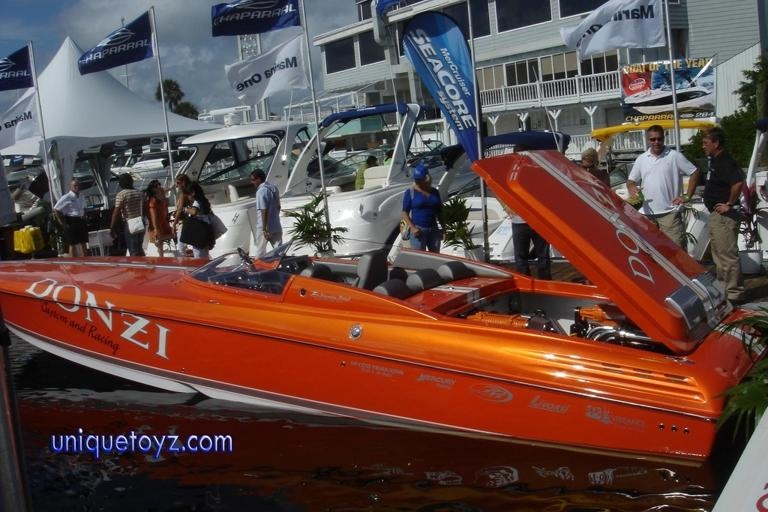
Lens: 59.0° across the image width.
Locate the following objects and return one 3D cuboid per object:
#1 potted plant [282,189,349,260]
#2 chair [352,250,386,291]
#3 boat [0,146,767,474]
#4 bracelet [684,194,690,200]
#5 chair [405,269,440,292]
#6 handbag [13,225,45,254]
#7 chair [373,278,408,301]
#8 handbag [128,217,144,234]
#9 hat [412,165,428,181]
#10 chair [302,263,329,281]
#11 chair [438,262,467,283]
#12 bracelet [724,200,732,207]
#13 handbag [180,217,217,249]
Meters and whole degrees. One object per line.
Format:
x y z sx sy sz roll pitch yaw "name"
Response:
-0.995 -0.397 9.811 1.042 1.105 1.009 -12 0 -6 "potted plant"
-0.135 0.158 6.537 0.125 0.364 0.234 -2 -32 35 "chair"
-1.024 -0.144 7.751 9.155 3.105 2.737 9 10 19 "boat"
3.678 -0.704 8.241 0.077 0.034 0.090 -16 10 14 "bracelet"
0.395 0.239 6.586 0.189 0.103 0.283 -7 3 15 "chair"
-6.441 -0.264 12.567 0.624 0.607 0.454 -8 15 -40 "handbag"
0.073 0.294 6.310 0.248 0.209 0.189 -8 12 -43 "chair"
-4.254 -0.516 11.611 0.222 0.211 0.097 -21 11 -23 "handbag"
0.506 -1.127 9.310 0.179 0.147 0.269 5 23 12 "hat"
-0.653 0.163 6.626 0.172 0.159 0.170 -1 2 -4 "chair"
0.684 0.160 6.802 0.183 0.203 0.241 -6 2 28 "chair"
3.984 -0.603 7.853 0.016 0.062 0.064 18 -29 -36 "bracelet"
-2.685 -0.338 9.872 0.414 0.358 0.230 10 0 3 "handbag"
